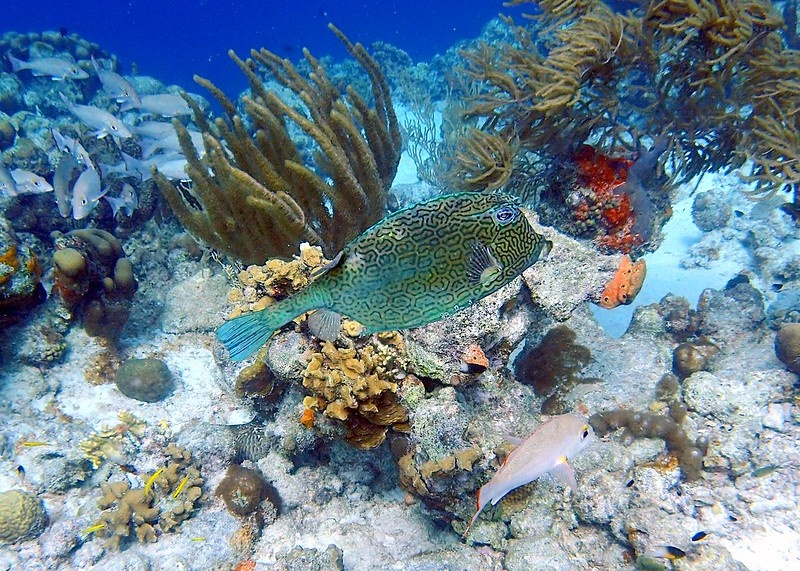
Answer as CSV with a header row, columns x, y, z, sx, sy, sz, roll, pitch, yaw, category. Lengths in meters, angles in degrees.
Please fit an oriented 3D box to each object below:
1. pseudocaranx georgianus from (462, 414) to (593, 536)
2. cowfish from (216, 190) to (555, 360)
x,y,z,sx,sy,sz,roll,pitch,yaw,category
1.672,2.376,9.206,1.995,1.046,0.826,-26,104,-9,pseudocaranx georgianus
-0.091,-0.141,8.890,4.429,1.688,1.083,-22,28,-13,cowfish
